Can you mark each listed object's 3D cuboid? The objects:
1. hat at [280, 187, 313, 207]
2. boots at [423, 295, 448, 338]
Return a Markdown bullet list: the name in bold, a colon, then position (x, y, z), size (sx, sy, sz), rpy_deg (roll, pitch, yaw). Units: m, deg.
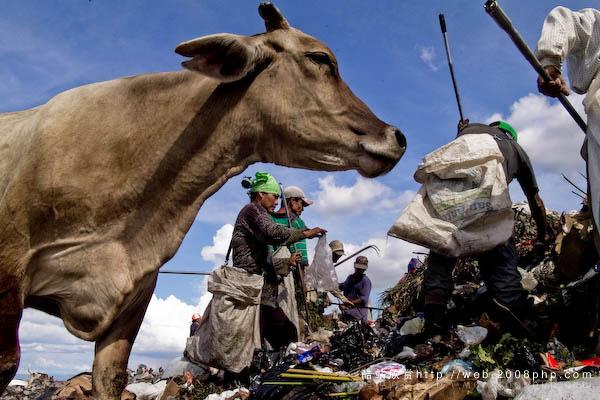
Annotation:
- **hat**: position (-0.082, -0.056, 8.812), size (0.504, 0.276, 0.332), rpy_deg (4, -4, -6)
- **boots**: position (1.638, 1.395, 5.581), size (0.262, 0.517, 0.179), rpy_deg (0, -13, 15)
